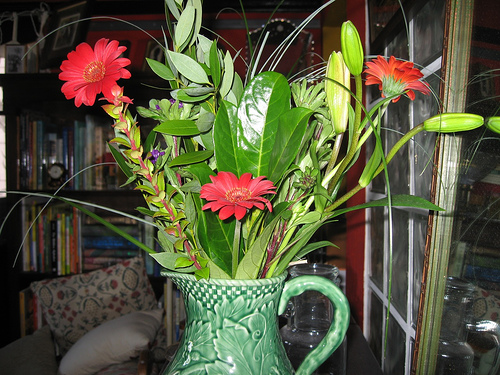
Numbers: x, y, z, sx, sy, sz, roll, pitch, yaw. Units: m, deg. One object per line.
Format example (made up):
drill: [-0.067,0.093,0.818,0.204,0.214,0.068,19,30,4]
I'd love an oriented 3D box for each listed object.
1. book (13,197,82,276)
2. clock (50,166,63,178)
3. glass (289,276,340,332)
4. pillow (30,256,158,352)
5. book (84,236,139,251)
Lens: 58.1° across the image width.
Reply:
book: [-1.115,0.285,2.593,0.387,0.415,0.332,0,1,-33]
clock: [-1.065,-0.084,2.469,0.050,0.067,0.014,4,-7,2]
glass: [0.175,0.315,1.254,0.118,0.155,0.108,-2,6,7]
pillow: [-0.788,0.569,2.037,0.395,0.124,0.431,20,14,-16]
book: [-0.775,0.311,2.468,0.158,0.049,0.183,1,-4,6]
